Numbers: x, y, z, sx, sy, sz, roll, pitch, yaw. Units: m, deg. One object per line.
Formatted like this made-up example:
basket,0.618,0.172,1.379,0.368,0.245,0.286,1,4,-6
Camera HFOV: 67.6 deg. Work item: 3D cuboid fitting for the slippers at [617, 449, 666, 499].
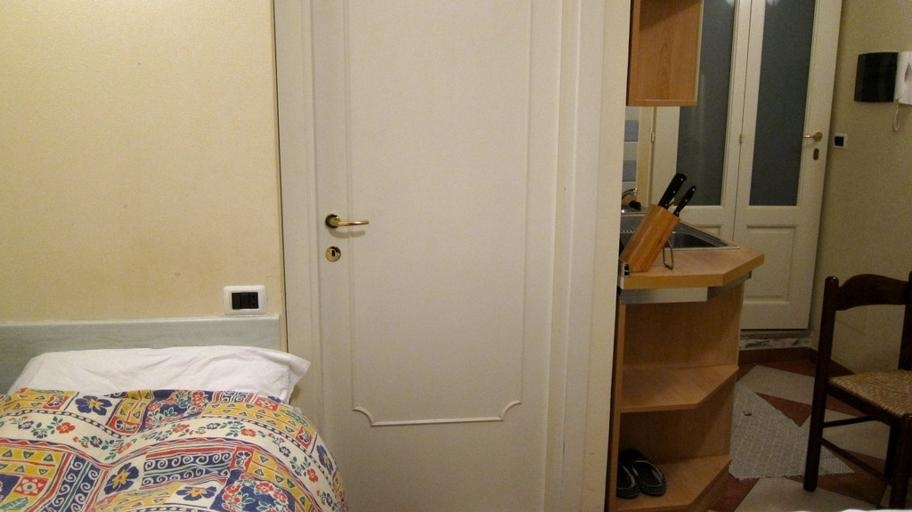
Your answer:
slippers,1.021,1.212,3.814,0.268,0.157,0.295,-1,10,4
